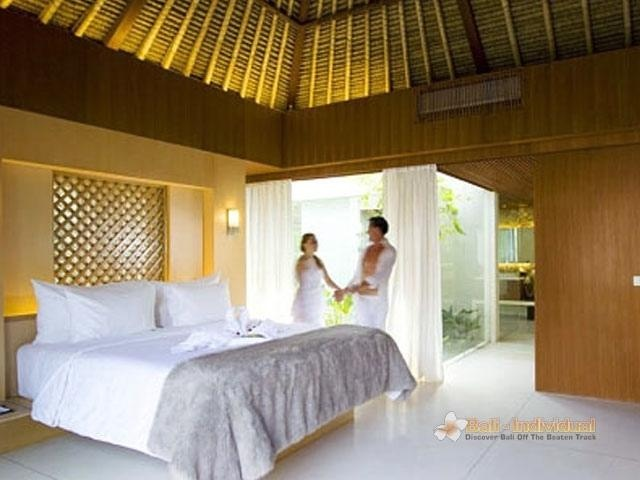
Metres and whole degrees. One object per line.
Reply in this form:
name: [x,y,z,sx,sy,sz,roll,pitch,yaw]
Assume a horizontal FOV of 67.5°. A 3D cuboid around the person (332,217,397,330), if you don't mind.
person: [0.578,0.387,5.685,0.627,1.310,0.286,0,2,12]
